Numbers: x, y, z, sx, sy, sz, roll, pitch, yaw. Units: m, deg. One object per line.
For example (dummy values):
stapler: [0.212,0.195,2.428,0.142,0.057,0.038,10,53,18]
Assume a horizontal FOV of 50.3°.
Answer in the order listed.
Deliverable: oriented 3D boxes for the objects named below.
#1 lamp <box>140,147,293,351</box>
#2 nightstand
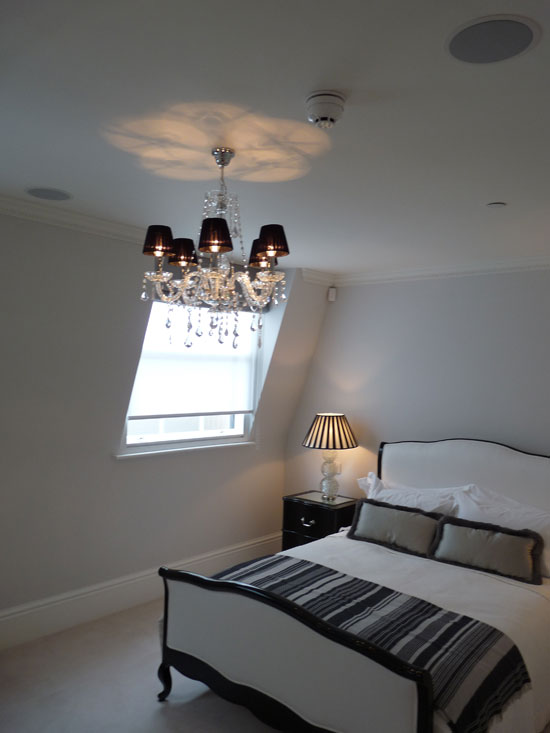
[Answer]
lamp: [-0.271,-0.468,2.891,0.863,1.100,0.810,1,2,-1]
nightstand: [0.339,1.167,4.410,0.543,0.497,0.409,5,8,44]
